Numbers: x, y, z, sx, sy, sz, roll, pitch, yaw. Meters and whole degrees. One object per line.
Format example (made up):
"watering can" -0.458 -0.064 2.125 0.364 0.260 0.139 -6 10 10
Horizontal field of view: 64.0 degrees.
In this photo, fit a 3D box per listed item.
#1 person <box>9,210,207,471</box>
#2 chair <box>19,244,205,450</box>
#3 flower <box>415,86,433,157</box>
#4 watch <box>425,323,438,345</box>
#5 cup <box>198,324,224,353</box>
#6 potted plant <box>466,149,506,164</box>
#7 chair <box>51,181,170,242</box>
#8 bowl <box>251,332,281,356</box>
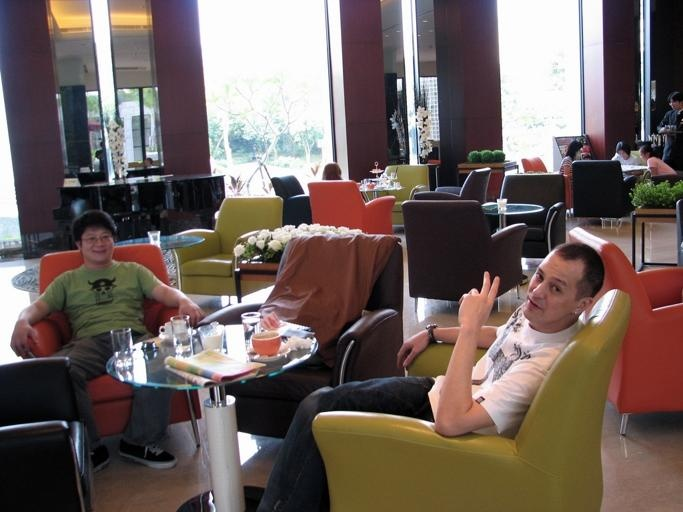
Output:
"person" -1.396 0.438 3.230 0.902 1.524 0.834 0 -9 -39
"chair" -1.478 0.557 3.556 1.132 1.476 1.153 -2 1 -23
"flower" 1.592 -2.491 10.537 0.316 1.374 0.892 -2 10 10
"watch" 0.473 0.419 2.905 0.071 0.086 0.063 -8 -3 4
"cup" -0.619 0.386 2.560 0.106 0.106 0.118 -2 -3 9
"potted plant" 2.773 -1.908 10.508 0.388 0.233 0.479 2 2 9
"chair" -2.977 -0.670 7.100 1.137 0.806 0.917 -5 10 -14
"bowl" -0.341 0.390 2.454 0.088 0.083 0.118 -1 0 -1
